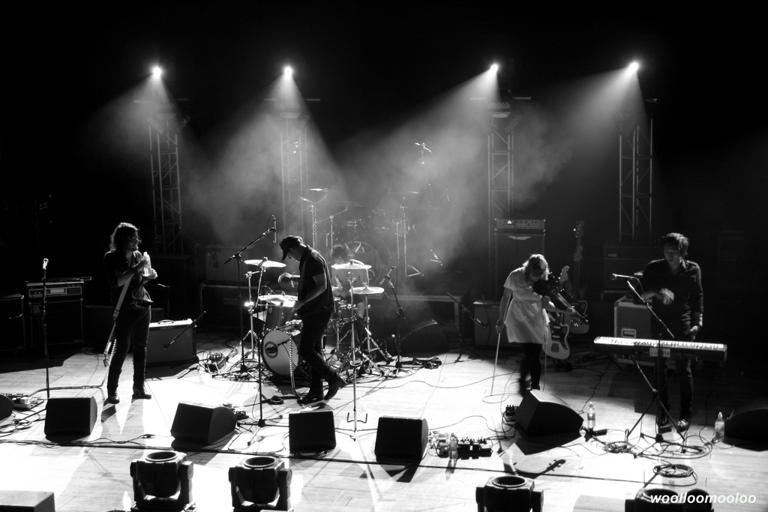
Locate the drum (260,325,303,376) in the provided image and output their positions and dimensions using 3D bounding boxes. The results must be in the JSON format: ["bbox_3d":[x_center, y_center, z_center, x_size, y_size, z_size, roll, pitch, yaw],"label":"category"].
[{"bbox_3d":[-1.445,1.330,9.807,0.577,0.646,0.447,21,18,26],"label":"drum"}]

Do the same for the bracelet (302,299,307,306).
[{"bbox_3d":[-1.024,0.588,8.800,0.063,0.061,0.015,-3,38,-4],"label":"bracelet"}]

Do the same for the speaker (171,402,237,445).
[{"bbox_3d":[-2.219,2.012,8.289,0.679,0.426,0.654,13,-7,-25],"label":"speaker"}]

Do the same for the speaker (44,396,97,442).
[{"bbox_3d":[-3.827,1.901,8.415,0.488,0.453,0.483,3,19,-16],"label":"speaker"}]

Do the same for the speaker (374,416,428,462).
[{"bbox_3d":[0.195,2.078,7.930,0.597,0.496,0.588,3,0,-6],"label":"speaker"}]

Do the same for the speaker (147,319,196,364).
[{"bbox_3d":[-3.486,1.451,11.139,0.839,0.736,0.467,-5,-17,-19],"label":"speaker"}]

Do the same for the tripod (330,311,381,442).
[{"bbox_3d":[-0.561,1.930,10.111,0.465,1.319,0.467,-15,-3,-11],"label":"tripod"}]

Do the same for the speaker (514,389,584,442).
[{"bbox_3d":[1.971,1.893,8.269,0.580,0.380,0.559,-2,-3,-8],"label":"speaker"}]

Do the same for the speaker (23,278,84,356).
[{"bbox_3d":[-5.497,1.152,11.893,0.626,1.054,0.829,-3,-24,-17],"label":"speaker"}]

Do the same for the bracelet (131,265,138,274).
[{"bbox_3d":[-3.193,0.185,8.850,0.064,0.079,0.093,2,12,12],"label":"bracelet"}]

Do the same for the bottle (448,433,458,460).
[{"bbox_3d":[0.777,2.144,7.748,0.102,0.218,0.214,0,12,4],"label":"bottle"}]

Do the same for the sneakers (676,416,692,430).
[{"bbox_3d":[3.558,2.003,8.175,0.162,0.182,0.459,-2,-4,23],"label":"sneakers"}]

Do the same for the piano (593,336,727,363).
[{"bbox_3d":[3.152,1.060,7.929,1.375,0.286,0.318,4,12,20],"label":"piano"}]

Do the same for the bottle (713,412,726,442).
[{"bbox_3d":[3.941,1.950,8.079,0.113,0.327,0.426,5,13,26],"label":"bottle"}]

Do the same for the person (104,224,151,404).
[{"bbox_3d":[-3.373,0.769,9.107,0.747,2.380,0.456,-5,13,-20],"label":"person"}]

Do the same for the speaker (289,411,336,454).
[{"bbox_3d":[-0.840,1.948,8.015,0.548,0.514,0.444,1,19,1],"label":"speaker"}]

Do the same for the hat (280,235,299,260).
[{"bbox_3d":[-1.248,-0.105,8.903,0.231,0.327,0.447,-6,13,-25],"label":"hat"}]

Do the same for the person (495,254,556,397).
[{"bbox_3d":[1.867,0.949,9.181,0.635,2.093,1.285,2,12,13],"label":"person"}]

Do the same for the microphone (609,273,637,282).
[{"bbox_3d":[3.451,0.304,9.944,0.567,0.089,0.101,5,-26,-36],"label":"microphone"}]

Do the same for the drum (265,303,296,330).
[{"bbox_3d":[-1.490,0.851,9.861,0.414,0.322,0.378,2,-9,0],"label":"drum"}]

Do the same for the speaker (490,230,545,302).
[{"bbox_3d":[2.411,0.171,12.626,0.981,1.490,0.923,-3,14,-9],"label":"speaker"}]

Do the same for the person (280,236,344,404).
[{"bbox_3d":[-0.889,0.852,9.050,0.733,2.270,0.587,3,13,20],"label":"person"}]
